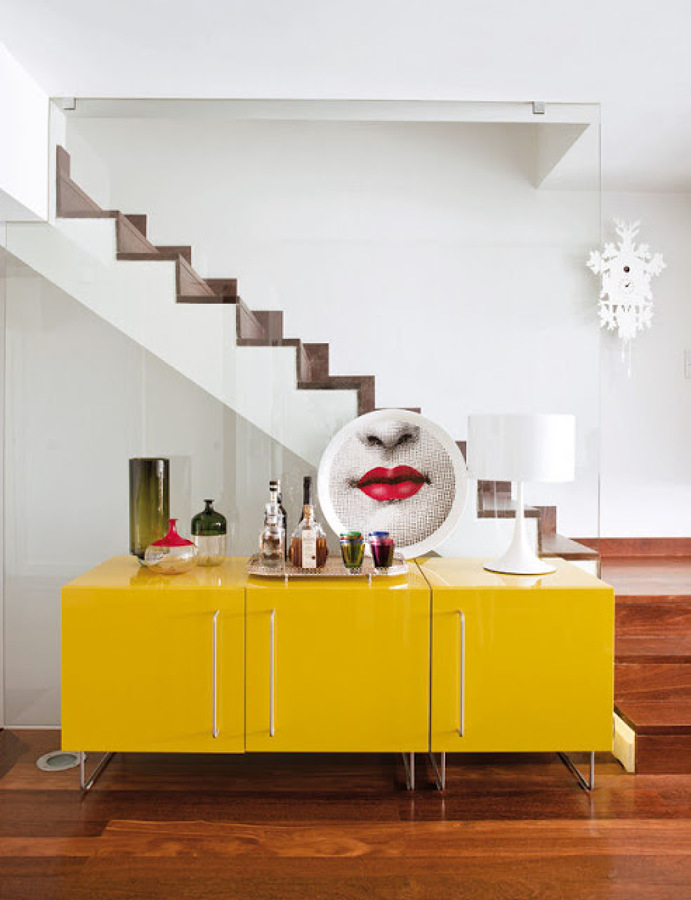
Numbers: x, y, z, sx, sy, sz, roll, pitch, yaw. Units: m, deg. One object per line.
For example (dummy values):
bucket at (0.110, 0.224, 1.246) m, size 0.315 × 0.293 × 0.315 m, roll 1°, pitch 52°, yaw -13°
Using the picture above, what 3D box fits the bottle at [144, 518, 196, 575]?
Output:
bottle at (-0.528, 0.290, 3.027) m, size 0.136 × 0.144 × 0.135 m, roll 2°, pitch 2°, yaw 27°

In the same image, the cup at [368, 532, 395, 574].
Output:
cup at (0.111, 0.307, 2.984) m, size 0.093 × 0.115 × 0.095 m, roll 0°, pitch 6°, yaw 0°

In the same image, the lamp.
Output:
lamp at (0.548, 0.116, 3.127) m, size 0.313 × 0.497 × 0.325 m, roll -1°, pitch 10°, yaw -4°

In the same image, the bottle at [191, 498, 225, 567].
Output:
bottle at (-0.447, 0.264, 3.191) m, size 0.120 × 0.209 × 0.123 m, roll 2°, pitch 5°, yaw 0°

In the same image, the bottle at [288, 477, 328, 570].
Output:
bottle at (-0.122, 0.215, 3.112) m, size 0.113 × 0.250 × 0.317 m, roll 0°, pitch 10°, yaw -3°
